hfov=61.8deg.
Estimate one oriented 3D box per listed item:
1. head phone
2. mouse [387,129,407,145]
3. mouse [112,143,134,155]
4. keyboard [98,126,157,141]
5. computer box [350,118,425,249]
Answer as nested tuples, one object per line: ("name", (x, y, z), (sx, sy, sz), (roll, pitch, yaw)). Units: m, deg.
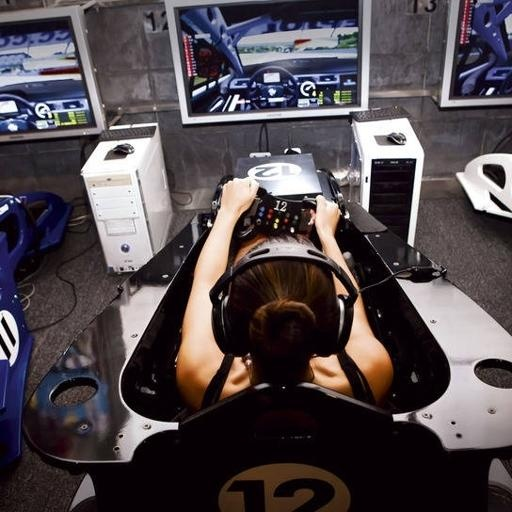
("head phone", (0.039, 0.074, 0.643), (0.193, 0.192, 0.080), (0, 30, -1))
("mouse", (0.754, -0.629, 2.279), (0.091, 0.036, 0.133), (-8, 36, -4))
("mouse", (-0.736, -0.587, 2.335), (0.085, 0.034, 0.066), (9, 52, 8))
("keyboard", (-0.767, -0.735, 2.581), (0.226, 0.032, 0.146), (-5, 32, 0))
("computer box", (0.750, -0.439, 2.460), (0.265, 0.572, 0.404), (-4, 40, 8))
